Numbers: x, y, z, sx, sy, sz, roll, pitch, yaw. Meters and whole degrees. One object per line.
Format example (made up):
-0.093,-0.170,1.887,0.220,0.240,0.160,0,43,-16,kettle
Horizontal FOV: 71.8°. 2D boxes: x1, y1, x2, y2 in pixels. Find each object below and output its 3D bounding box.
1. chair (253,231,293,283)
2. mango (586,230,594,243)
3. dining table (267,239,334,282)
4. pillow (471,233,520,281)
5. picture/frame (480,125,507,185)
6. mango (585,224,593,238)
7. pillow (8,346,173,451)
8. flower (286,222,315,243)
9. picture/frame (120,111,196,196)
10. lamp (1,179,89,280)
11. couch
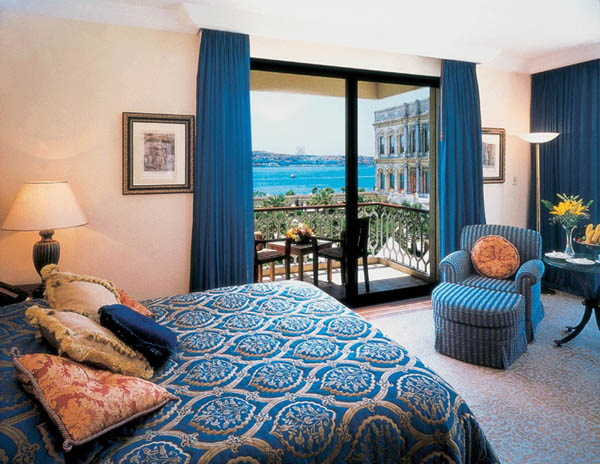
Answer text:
-0.344,0.273,4.883,0.532,0.830,0.475,-1,2,-20,chair
2.843,0.049,4.048,0.039,0.125,0.072,26,-28,-21,mango
0.044,0.262,5.037,0.539,0.548,0.506,-1,1,-40,dining table
2.076,0.248,4.357,0.546,0.585,0.131,0,0,-38,pillow
2.580,-1.017,5.502,0.407,0.731,0.098,-7,12,-24,picture/frame
2.974,-0.014,4.254,0.039,0.143,0.107,7,-11,22,mango
-0.976,0.697,1.977,0.536,0.286,0.548,10,17,42,pillow
0.038,0.004,5.094,0.249,0.187,0.260,2,5,31,flower
-1.384,-0.768,3.954,0.765,0.957,0.043,-1,6,-25,picture/frame
-2.065,-0.022,3.610,0.685,0.899,0.729,0,1,37,lamp
1.867,0.519,4.065,0.859,1.081,1.212,4,14,39,couch
